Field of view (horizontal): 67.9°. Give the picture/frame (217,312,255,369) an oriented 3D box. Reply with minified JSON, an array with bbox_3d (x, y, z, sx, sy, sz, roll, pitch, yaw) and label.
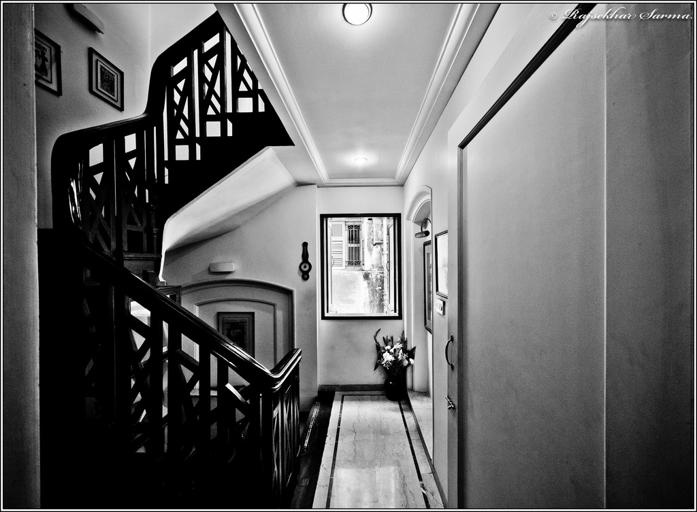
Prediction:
[{"bbox_3d":[-1.111,0.799,5.107,0.337,0.504,0.012,1,19,-12],"label":"picture/frame"}]

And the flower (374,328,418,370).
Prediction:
[{"bbox_3d":[0.448,0.831,5.109,0.396,0.269,0.379,9,-52,15],"label":"flower"}]
